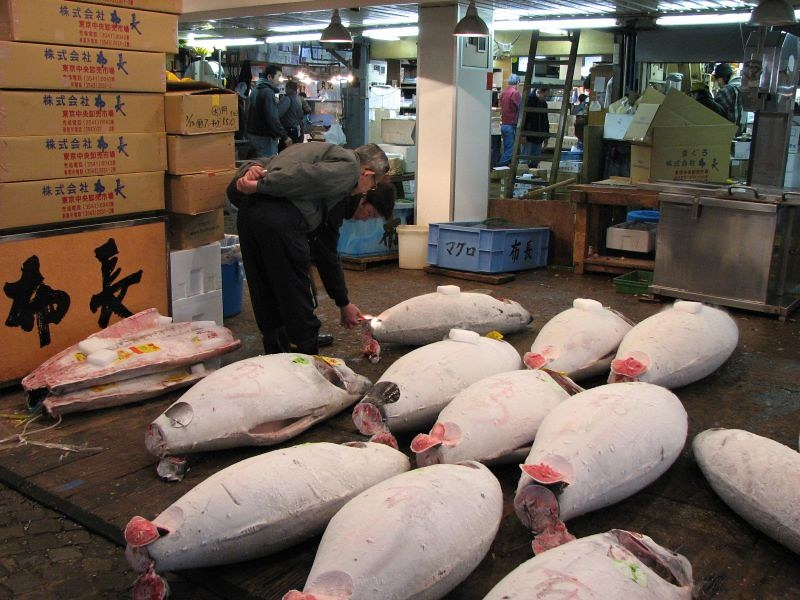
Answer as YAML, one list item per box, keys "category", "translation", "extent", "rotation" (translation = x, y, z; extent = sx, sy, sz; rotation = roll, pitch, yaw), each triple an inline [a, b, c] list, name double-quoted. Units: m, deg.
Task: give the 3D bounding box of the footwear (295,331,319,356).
- category: "footwear"
  translation: [-0.560, 0.264, 3.506]
  extent: [0.149, 0.141, 0.146]
  rotation: [2, 6, 36]

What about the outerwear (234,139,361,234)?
- category: "outerwear"
  translation: [-0.625, -0.691, 3.481]
  extent: [0.717, 0.288, 0.515]
  rotation: [-10, 8, -19]

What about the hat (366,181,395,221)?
- category: "hat"
  translation: [-0.103, -0.654, 3.701]
  extent: [0.175, 0.219, 0.220]
  rotation: [6, 18, 18]

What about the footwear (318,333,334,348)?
- category: "footwear"
  translation: [-0.501, 0.295, 4.136]
  extent: [0.164, 0.068, 0.056]
  rotation: [-9, 7, 1]

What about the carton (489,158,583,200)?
- category: "carton"
  translation: [2.430, -2.115, 9.955]
  extent: [1.697, 0.681, 1.721]
  rotation: [12, 19, 42]

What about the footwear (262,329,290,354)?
- category: "footwear"
  translation: [-0.783, 0.267, 3.646]
  extent: [0.182, 0.098, 0.099]
  rotation: [-5, 2, 35]

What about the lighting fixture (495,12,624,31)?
- category: "lighting fixture"
  translation: [2.521, -4.493, 9.320]
  extent: [1.946, 0.233, 1.194]
  rotation: [4, 17, 15]

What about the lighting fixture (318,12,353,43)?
- category: "lighting fixture"
  translation: [-0.869, -3.741, 7.987]
  extent: [0.582, 0.525, 0.505]
  rotation: [0, 24, -3]

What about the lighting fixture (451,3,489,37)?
- category: "lighting fixture"
  translation: [0.728, -2.976, 6.055]
  extent: [0.443, 0.419, 0.408]
  rotation: [3, 29, 4]

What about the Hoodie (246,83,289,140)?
- category: "Hoodie"
  translation: [-2.029, -2.869, 8.760]
  extent: [0.568, 0.830, 0.985]
  rotation: [-15, 33, -31]

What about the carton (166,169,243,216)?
- category: "carton"
  translation: [-1.400, -0.729, 4.005]
  extent: [0.333, 0.255, 0.600]
  rotation: [13, 15, 40]

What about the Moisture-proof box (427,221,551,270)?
- category: "Moisture-proof box"
  translation: [0.846, -0.691, 6.210]
  extent: [0.821, 0.307, 0.802]
  rotation: [-11, 17, -41]
